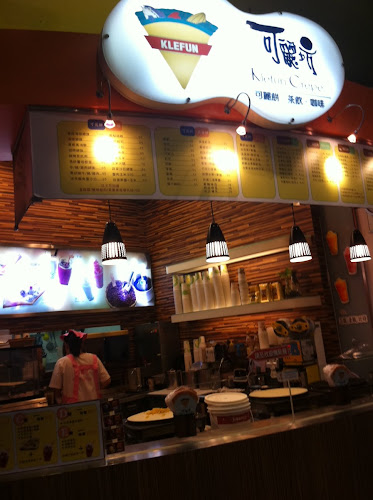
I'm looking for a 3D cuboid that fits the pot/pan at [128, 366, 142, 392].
[{"bbox_3d":[-0.597,1.531,4.367,0.167,0.275,0.087,-1,10,-39],"label":"pot/pan"}]

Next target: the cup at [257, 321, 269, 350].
[{"bbox_3d":[0.899,1.004,4.350,0.145,0.307,0.346,6,8,7],"label":"cup"}]

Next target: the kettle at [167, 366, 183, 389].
[{"bbox_3d":[-0.103,1.463,4.252,0.146,0.297,0.254,-6,-10,37],"label":"kettle"}]

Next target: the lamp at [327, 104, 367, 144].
[{"bbox_3d":[1.254,-1.014,2.914,0.290,0.316,0.096,27,-10,20],"label":"lamp"}]

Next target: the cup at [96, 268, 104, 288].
[{"bbox_3d":[-1.368,0.430,5.781,0.137,0.328,0.127,5,8,-1],"label":"cup"}]

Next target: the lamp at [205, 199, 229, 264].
[{"bbox_3d":[0.258,-0.114,2.976,0.185,0.497,0.440,5,8,3],"label":"lamp"}]

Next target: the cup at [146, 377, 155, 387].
[{"bbox_3d":[-0.440,1.648,4.609,0.075,0.146,0.136,0,-11,-3],"label":"cup"}]

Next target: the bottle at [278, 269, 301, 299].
[{"bbox_3d":[1.198,0.398,4.296,0.254,0.313,0.303,7,8,13],"label":"bottle"}]

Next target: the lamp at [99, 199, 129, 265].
[{"bbox_3d":[-0.532,-0.082,2.754,0.187,0.483,0.517,3,9,-11],"label":"lamp"}]

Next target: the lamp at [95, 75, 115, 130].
[{"bbox_3d":[-0.395,-0.746,1.898,0.113,0.250,0.139,0,9,-33],"label":"lamp"}]

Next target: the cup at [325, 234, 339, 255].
[{"bbox_3d":[1.782,-0.078,4.543,0.158,0.280,0.078,9,8,25],"label":"cup"}]

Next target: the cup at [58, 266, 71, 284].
[{"bbox_3d":[-1.773,0.374,5.384,0.191,0.245,0.205,2,-9,0],"label":"cup"}]
